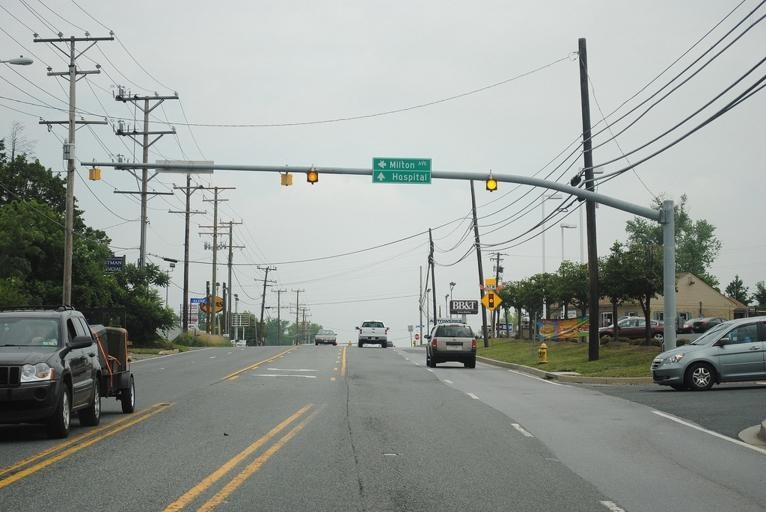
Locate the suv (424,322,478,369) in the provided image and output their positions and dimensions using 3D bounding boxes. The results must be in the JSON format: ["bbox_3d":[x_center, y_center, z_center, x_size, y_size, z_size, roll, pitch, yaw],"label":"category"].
[{"bbox_3d":[3.260,4.413,39.365,2.216,2.207,4.917,0,-2,-1],"label":"suv"}]

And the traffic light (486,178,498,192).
[{"bbox_3d":[4.036,-2.639,29.562,0.367,0.640,0.883,-2,-10,4],"label":"traffic light"}]

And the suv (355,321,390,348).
[{"bbox_3d":[-0.748,6.563,64.481,2.252,2.215,4.920,0,-2,-2],"label":"suv"}]
